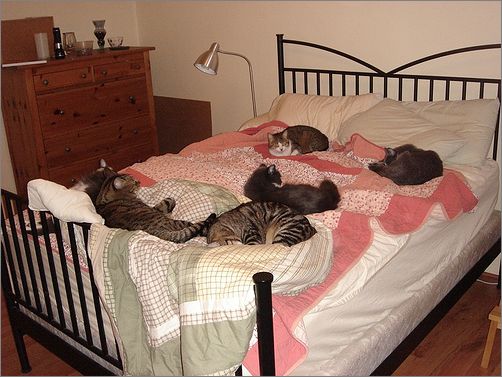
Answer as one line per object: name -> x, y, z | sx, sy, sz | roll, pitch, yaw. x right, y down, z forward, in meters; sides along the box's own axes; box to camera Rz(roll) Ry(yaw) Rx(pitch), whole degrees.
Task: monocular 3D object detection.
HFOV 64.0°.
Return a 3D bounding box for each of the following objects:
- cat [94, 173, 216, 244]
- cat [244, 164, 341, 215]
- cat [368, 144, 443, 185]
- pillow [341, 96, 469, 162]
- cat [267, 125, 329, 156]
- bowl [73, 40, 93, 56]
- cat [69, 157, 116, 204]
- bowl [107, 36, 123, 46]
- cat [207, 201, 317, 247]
cat -> -0.506, 0.119, 1.876 | 0.459, 0.164, 0.331 | 29, 25, 36
cat -> 0.199, -0.024, 2.135 | 0.529, 0.284, 0.219 | 14, 18, 21
cat -> 0.894, -0.136, 2.271 | 0.314, 0.128, 0.238 | 8, 32, 23
pillow -> 0.989, -0.400, 2.650 | 0.393, 0.167, 0.598 | -38, 41, -25
cat -> 0.316, -0.371, 2.872 | 0.337, 0.141, 0.235 | -25, 25, -34
bowl -> -1.607, -1.362, 3.908 | 0.168, 0.113, 0.167 | -1, 17, 0
cat -> -0.802, -0.039, 2.164 | 0.142, 0.185, 0.291 | 23, 41, 29
bowl -> -1.401, -1.532, 4.178 | 0.140, 0.082, 0.142 | -1, 13, 0
cat -> 0.046, 0.177, 1.712 | 0.461, 0.159, 0.300 | -2, 19, -9
